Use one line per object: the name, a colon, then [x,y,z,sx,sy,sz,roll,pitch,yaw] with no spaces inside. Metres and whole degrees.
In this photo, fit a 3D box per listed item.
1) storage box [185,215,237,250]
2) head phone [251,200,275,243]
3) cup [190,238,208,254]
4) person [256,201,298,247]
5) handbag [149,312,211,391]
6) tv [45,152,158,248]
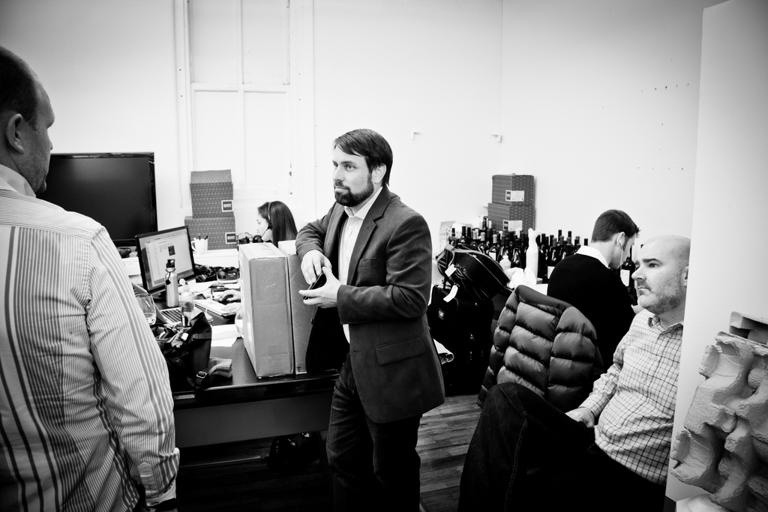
storage box: [-1.750,-0.270,5.246,0.561,0.411,0.310,-2,3,-18]
head phone: [-1.092,-0.280,4.765,0.306,0.437,0.190,1,-1,35]
cup: [-1.837,-0.104,5.129,0.177,0.142,0.120,-2,0,8]
person: [-0.932,-0.296,4.478,0.299,0.359,0.726,-1,8,-12]
handbag: [-0.898,0.425,2.333,0.121,0.338,0.239,-11,-5,2]
tv: [-2.013,-0.435,3.678,0.743,0.600,0.080,0,2,-15]
